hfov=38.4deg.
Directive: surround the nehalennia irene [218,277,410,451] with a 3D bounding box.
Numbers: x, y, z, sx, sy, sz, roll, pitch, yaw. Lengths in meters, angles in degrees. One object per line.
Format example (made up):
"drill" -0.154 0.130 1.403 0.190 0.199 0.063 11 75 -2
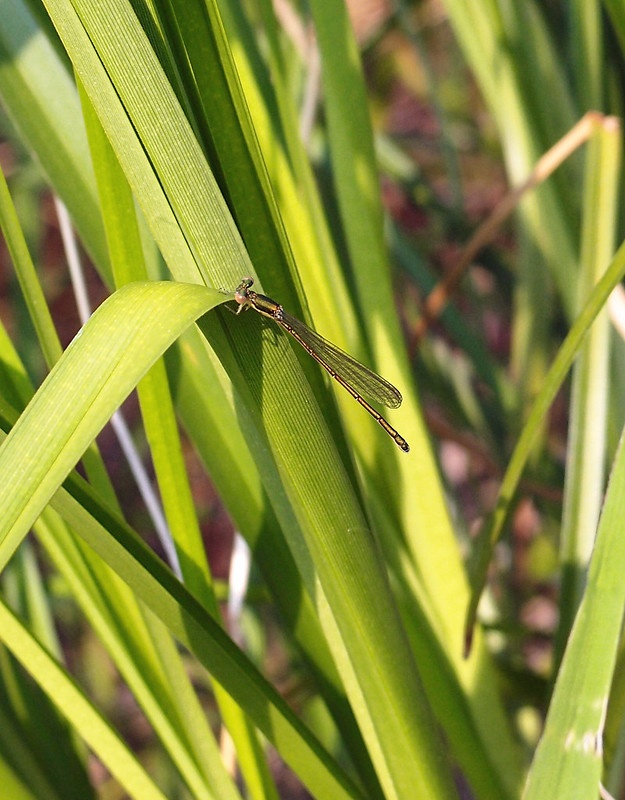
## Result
"nehalennia irene" 0.002 -0.022 0.537 0.034 0.029 0.108 -30 -76 35
